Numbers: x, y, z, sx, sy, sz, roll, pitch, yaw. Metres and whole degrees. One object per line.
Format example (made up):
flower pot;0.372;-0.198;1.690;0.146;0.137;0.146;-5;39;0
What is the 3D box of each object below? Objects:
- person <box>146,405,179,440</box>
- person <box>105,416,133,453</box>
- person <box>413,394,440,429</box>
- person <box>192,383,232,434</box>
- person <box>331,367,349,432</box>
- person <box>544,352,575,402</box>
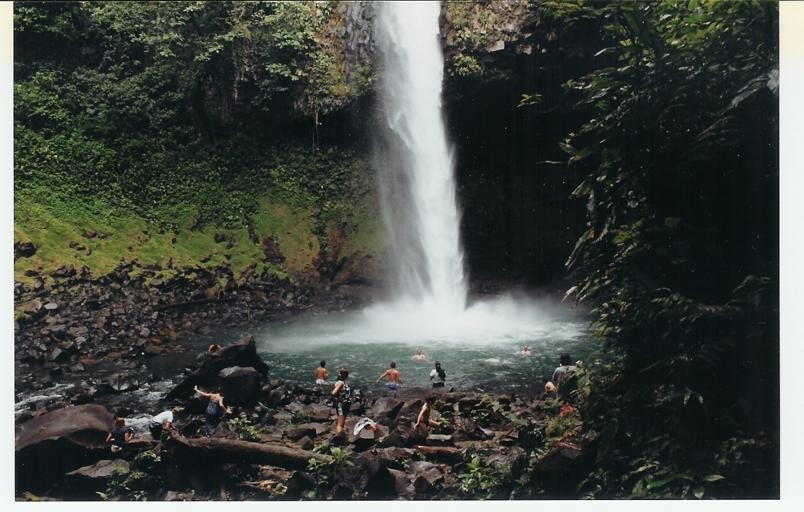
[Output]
person;-5.206;3.696;15.144;0.664;0.576;1.108;0;3;-12
person;-6.072;3.865;14.976;0.504;0.723;0.301;1;3;5
person;0.538;3.442;15.325;0.499;0.782;0.539;1;3;-1
person;-4.173;3.434;15.328;0.988;0.966;0.346;7;5;15
person;-1.299;3.173;15.243;0.382;1.360;0.622;1;3;-5
person;3.567;2.686;15.602;0.729;1.011;0.495;2;3;23
